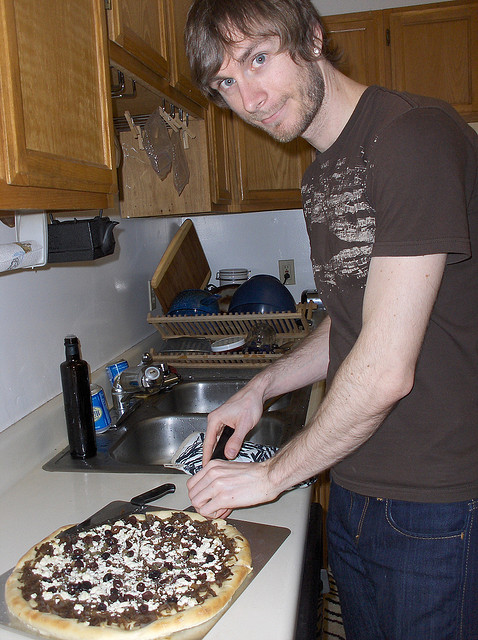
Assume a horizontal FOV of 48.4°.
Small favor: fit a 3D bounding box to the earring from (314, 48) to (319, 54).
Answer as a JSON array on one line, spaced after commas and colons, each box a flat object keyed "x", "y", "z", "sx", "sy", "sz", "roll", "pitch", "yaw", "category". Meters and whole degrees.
[{"x": 0.112, "y": -0.394, "z": 0.781, "sx": 0.002, "sy": 0.010, "sz": 0.010, "roll": 4, "pitch": 9, "yaw": 42, "category": "earring"}]

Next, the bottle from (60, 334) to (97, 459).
[{"x": -0.321, "y": 0.157, "z": 1.067, "sx": 0.055, "sy": 0.248, "sz": 0.075, "roll": -5, "pitch": 7, "yaw": -16, "category": "bottle"}]

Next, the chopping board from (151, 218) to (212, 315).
[{"x": -0.242, "y": -0.211, "z": 2.159, "sx": 0.038, "sy": 0.273, "sz": 0.450, "roll": -8, "pitch": 48, "yaw": 23, "category": "chopping board"}]

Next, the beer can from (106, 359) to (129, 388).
[{"x": -0.314, "y": 0.146, "z": 1.513, "sx": 0.067, "sy": 0.095, "sz": 0.062, "roll": -14, "pitch": 3, "yaw": 1, "category": "beer can"}]

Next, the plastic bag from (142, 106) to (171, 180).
[{"x": -0.250, "y": -0.528, "z": 1.617, "sx": 0.083, "sy": 0.145, "sz": 0.318, "roll": -3, "pitch": 7, "yaw": -6, "category": "plastic bag"}]

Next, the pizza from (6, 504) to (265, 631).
[{"x": -0.133, "y": 0.313, "z": 0.713, "sx": 0.319, "sy": 0.019, "sz": 0.311, "roll": -3, "pitch": 7, "yaw": -9, "category": "pizza"}]

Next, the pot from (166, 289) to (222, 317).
[{"x": -0.159, "y": -0.058, "z": 1.939, "sx": 0.135, "sy": 0.049, "sz": 0.107, "roll": -6, "pitch": -8, "yaw": -18, "category": "pot"}]

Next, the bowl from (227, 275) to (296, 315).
[{"x": 0.147, "y": -0.085, "z": 1.979, "sx": 0.171, "sy": 0.130, "sz": 0.186, "roll": 9, "pitch": 0, "yaw": 0, "category": "bowl"}]

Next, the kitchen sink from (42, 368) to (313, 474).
[{"x": -0.092, "y": 0.189, "z": 1.328, "sx": 0.277, "sy": 0.086, "sz": 0.389, "roll": 0, "pitch": 8, "yaw": 10, "category": "kitchen sink"}]

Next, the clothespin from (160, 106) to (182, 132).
[{"x": -0.199, "y": -0.570, "z": 1.545, "sx": 0.055, "sy": 0.054, "sz": 0.174, "roll": -3, "pitch": 7, "yaw": -7, "category": "clothespin"}]
